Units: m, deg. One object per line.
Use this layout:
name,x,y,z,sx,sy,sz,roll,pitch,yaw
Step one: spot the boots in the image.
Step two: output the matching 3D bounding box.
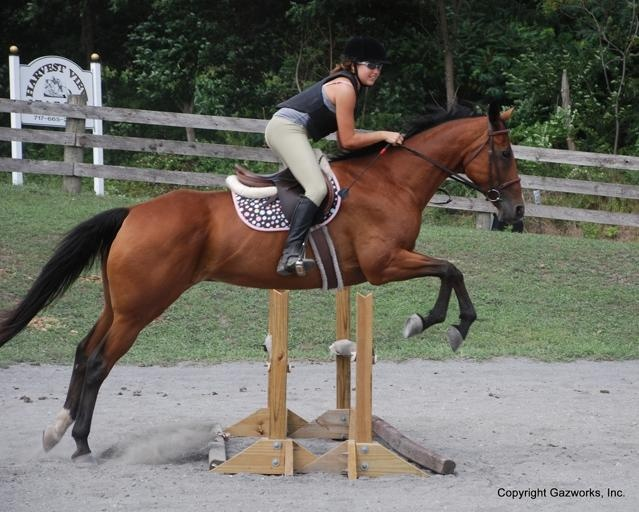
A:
boots,-0.200,-0.189,8.427,0.267,0.729,0.272,6,8,21

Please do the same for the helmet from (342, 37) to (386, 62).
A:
helmet,0.427,-1.968,8.644,0.377,0.141,0.229,2,34,-2
